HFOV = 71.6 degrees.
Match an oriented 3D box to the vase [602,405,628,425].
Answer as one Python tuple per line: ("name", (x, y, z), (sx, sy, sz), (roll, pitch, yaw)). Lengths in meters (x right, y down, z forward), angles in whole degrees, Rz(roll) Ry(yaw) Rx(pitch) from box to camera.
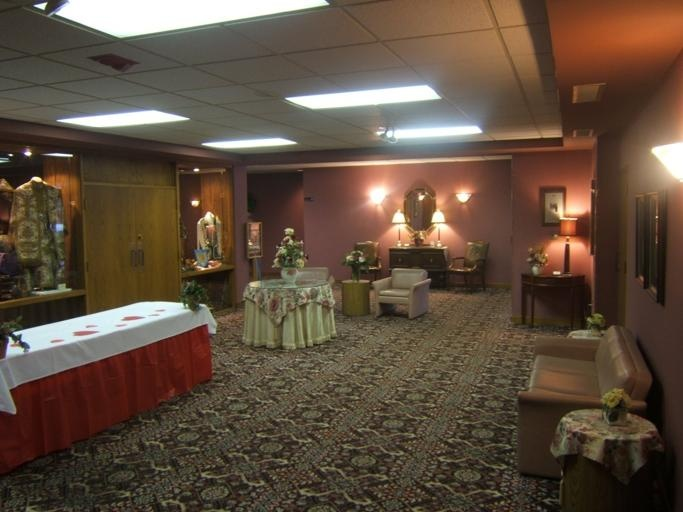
("vase", (1.880, 1.087, 3.282), (0.138, 0.115, 0.135), (-1, -3, -5))

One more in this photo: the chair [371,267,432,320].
("chair", (1.244, 0.721, 9.546), (0.992, 0.852, 0.989), (2, 6, 24))

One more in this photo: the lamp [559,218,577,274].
("lamp", (3.871, -0.182, 8.114), (0.266, 0.969, 0.554), (3, 7, 25))

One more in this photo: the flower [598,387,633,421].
("flower", (1.901, 1.050, 3.313), (0.213, 0.210, 0.208), (6, -6, 10))

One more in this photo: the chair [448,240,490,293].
("chair", (3.247, 0.230, 12.175), (1.027, 1.145, 1.028), (0, 4, 9))

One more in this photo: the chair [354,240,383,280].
("chair", (0.709, 0.214, 12.798), (0.748, 1.239, 0.809), (0, 4, 10))

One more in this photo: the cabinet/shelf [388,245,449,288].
("cabinet/shelf", (2.075, 0.270, 12.769), (1.490, 0.991, 0.905), (0, 7, 13))

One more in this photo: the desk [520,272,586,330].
("desk", (3.628, 0.729, 8.144), (1.025, 0.849, 0.585), (-1, 4, 22))

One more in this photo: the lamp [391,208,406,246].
("lamp", (1.587, -0.786, 13.080), (0.368, 0.970, 0.413), (0, 7, 6))

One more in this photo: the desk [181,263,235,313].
("desk", (-2.783, 0.733, 9.606), (0.478, 0.999, 1.490), (-1, 0, 23))

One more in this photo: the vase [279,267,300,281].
("vase", (-0.801, 0.278, 7.516), (0.230, 0.153, 0.218), (6, 7, 31))

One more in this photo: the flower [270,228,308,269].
("flower", (-0.827, -0.131, 7.758), (0.439, 0.586, 0.440), (-22, -37, 37))

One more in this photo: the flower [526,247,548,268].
("flower", (3.357, 0.024, 8.131), (0.216, 0.303, 0.268), (-6, 9, -38))

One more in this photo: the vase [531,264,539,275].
("vase", (3.308, 0.246, 8.129), (0.134, 0.146, 0.133), (3, 2, 13))

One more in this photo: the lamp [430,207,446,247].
("lamp", (2.615, -0.767, 12.776), (0.361, 0.947, 0.279), (0, 7, 5))

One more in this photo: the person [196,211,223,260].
("person", (-2.694, -0.389, 9.702), (0.342, 0.967, 0.647), (1, 7, 13))

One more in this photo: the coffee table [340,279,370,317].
("coffee table", (0.283, 0.817, 9.560), (0.654, 0.709, 0.644), (0, 5, 1))

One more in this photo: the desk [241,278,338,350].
("desk", (-0.863, 0.838, 7.752), (1.485, 0.930, 1.540), (7, 12, 42))

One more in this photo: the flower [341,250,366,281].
("flower", (0.280, 0.203, 9.637), (0.611, 0.607, 0.615), (4, 7, 29))
